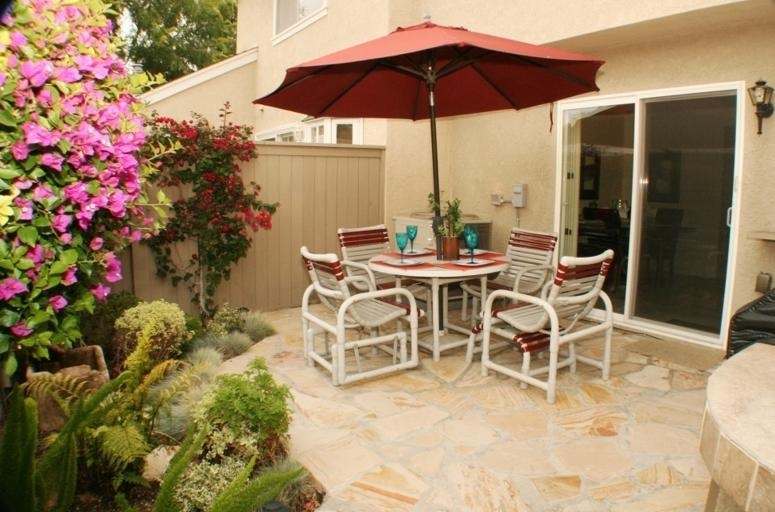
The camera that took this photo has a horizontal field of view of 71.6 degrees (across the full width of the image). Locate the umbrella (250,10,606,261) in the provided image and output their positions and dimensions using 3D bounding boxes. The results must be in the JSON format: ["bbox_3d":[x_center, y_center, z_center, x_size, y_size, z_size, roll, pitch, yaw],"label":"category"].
[{"bbox_3d":[0.404,-1.061,5.138,2.893,2.148,2.039,-1,10,-8],"label":"umbrella"}]

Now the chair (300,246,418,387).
[{"bbox_3d":[-0.285,0.442,5.143,1.045,1.151,1.581,-1,10,-8],"label":"chair"}]

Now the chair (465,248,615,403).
[{"bbox_3d":[1.324,0.516,4.713,1.009,1.074,1.140,-6,7,-29],"label":"chair"}]

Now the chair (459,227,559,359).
[{"bbox_3d":[1.233,0.315,5.554,0.991,1.025,0.952,4,14,18],"label":"chair"}]

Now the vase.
[{"bbox_3d":[-2.332,0.907,3.832,0.583,0.441,0.466,-5,-9,42],"label":"vase"}]

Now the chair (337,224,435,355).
[{"bbox_3d":[-0.009,0.215,5.842,1.024,1.012,0.924,2,16,15],"label":"chair"}]
